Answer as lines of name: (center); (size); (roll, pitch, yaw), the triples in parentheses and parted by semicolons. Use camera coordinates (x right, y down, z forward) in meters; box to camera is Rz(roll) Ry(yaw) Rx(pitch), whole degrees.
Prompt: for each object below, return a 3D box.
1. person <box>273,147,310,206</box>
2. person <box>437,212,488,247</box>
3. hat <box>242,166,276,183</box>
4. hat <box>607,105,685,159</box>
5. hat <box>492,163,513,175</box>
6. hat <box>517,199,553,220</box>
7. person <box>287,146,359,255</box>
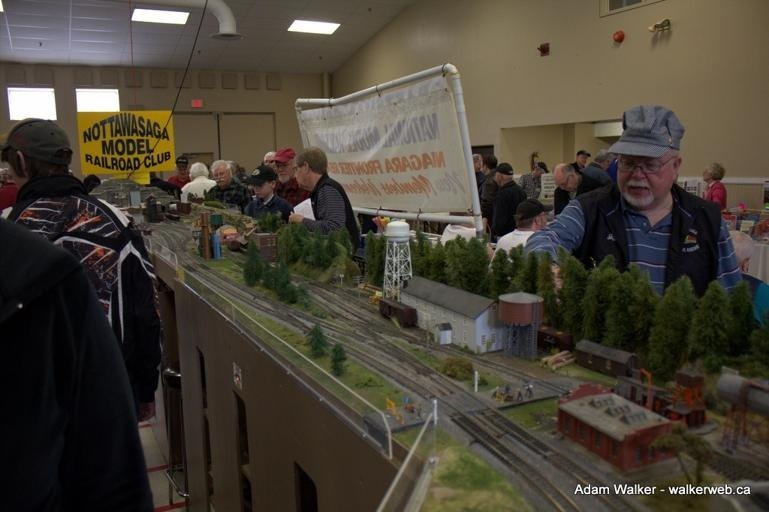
person: (-2.298, -1.830, 12.083); (0.907, 1.526, 0.832); (7, 19, 4)
person: (1.097, -0.396, 7.205); (0.561, 0.279, 0.792); (-2, 8, 5)
hat: (-2.593, -1.709, 10.623); (0.455, 0.429, 0.839); (-4, 7, -20)
hat: (2.254, -1.061, 4.349); (0.710, 0.433, 0.495); (-7, 9, -29)
hat: (3.079, -2.209, 13.027); (0.286, 0.272, 0.447); (-2, 22, -12)
hat: (2.213, -0.703, 7.413); (0.556, 0.264, 0.351); (-14, 15, -38)
person: (-0.966, -0.930, 8.081); (1.191, 1.600, 0.796); (1, 6, 23)
